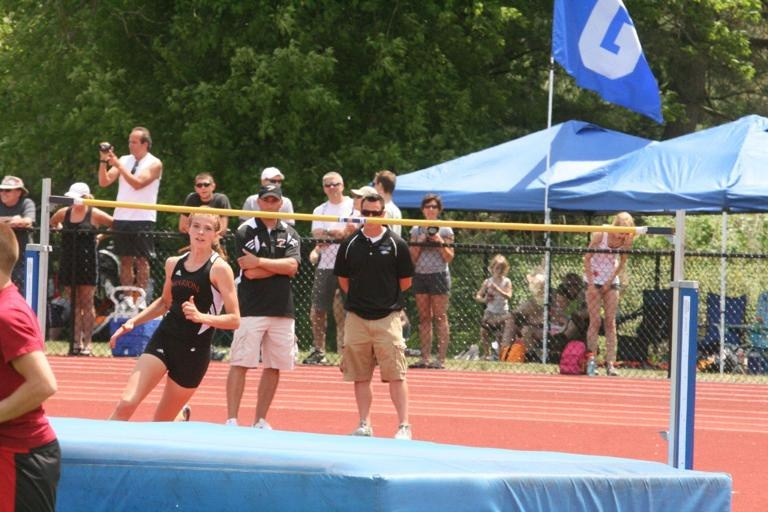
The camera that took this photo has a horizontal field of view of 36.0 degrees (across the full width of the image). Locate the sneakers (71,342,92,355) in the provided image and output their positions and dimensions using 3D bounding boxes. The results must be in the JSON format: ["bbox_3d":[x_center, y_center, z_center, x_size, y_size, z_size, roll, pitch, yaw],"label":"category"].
[{"bbox_3d":[-5.942,1.805,23.341,0.353,0.196,0.240,4,-10,-2],"label":"sneakers"}]

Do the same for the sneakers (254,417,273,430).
[{"bbox_3d":[-1.865,2.647,18.726,0.339,0.215,0.176,5,1,-23],"label":"sneakers"}]

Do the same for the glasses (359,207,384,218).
[{"bbox_3d":[-0.183,-0.689,18.832,0.325,0.116,0.196,1,2,-8],"label":"glasses"}]

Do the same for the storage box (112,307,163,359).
[{"bbox_3d":[-4.865,1.597,23.181,1.141,1.177,0.898,1,0,8],"label":"storage box"}]

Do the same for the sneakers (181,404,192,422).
[{"bbox_3d":[-3.080,2.436,18.480,0.119,0.249,0.491,1,2,-13],"label":"sneakers"}]

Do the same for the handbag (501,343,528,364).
[{"bbox_3d":[2.679,2.007,24.431,0.462,0.454,0.359,6,-44,-22],"label":"handbag"}]

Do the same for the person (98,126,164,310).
[{"bbox_3d":[-4.951,-0.708,22.719,1.196,3.492,1.141,7,6,14],"label":"person"}]
